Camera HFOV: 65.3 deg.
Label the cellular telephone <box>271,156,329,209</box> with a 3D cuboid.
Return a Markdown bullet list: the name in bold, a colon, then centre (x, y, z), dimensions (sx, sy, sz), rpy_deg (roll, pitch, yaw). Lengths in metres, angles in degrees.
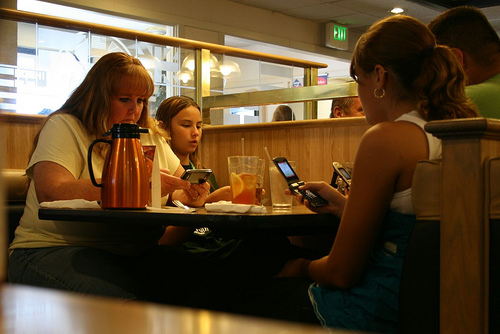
- **cellular telephone**: centre (0.176, 0.064, 1.464), dimensions (0.094, 0.136, 0.308), rpy_deg (-18, 26, -26)

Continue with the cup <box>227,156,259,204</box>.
- **cup**: centre (-0.028, 0.046, 1.408), dimensions (0.105, 0.171, 0.102), rpy_deg (1, -4, 0)

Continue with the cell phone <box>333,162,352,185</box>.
- **cell phone**: centre (0.439, 0.033, 1.870), dimensions (0.045, 0.016, 0.148), rpy_deg (0, 37, -25)

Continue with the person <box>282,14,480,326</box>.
- **person**: centre (0.420, -0.003, 1.281), dimensions (0.552, 0.965, 0.327), rpy_deg (-2, -4, 35)

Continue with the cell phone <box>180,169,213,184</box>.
- **cell phone**: centre (-0.229, 0.040, 1.591), dimensions (0.113, 0.019, 0.194), rpy_deg (-22, -14, 19)

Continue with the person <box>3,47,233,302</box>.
- **person**: centre (-0.527, 0.090, 2.166), dimensions (1.157, 1.346, 0.994), rpy_deg (-10, -14, 35)
